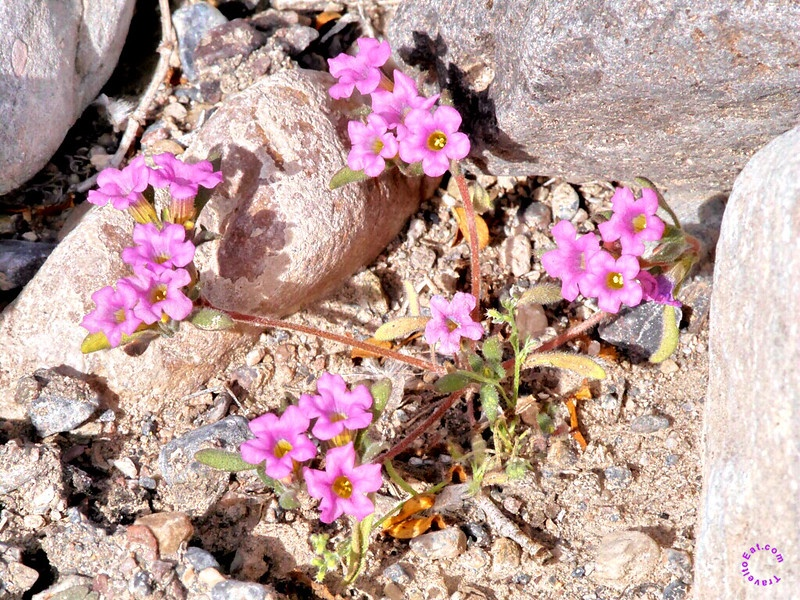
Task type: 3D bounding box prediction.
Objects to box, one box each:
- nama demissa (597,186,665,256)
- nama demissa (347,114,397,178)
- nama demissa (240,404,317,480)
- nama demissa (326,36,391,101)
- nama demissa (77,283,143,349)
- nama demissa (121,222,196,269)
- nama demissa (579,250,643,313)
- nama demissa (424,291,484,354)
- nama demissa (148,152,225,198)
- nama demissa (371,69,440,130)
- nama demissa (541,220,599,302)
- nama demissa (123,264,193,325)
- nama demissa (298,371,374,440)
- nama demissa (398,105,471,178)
[{"bbox_3d":[1.139,-0.376,4.406,0.307,0.125,0.335,25,92,26],"label":"nama demissa"},{"bbox_3d":[-0.145,-0.777,4.644,0.269,0.237,0.305,-4,74,1],"label":"nama demissa"},{"bbox_3d":[-0.596,0.677,4.231,0.305,0.321,0.145,-5,75,-13],"label":"nama demissa"},{"bbox_3d":[-0.185,-1.217,4.751,0.312,0.310,0.154,-20,78,43],"label":"nama demissa"},{"bbox_3d":[-1.363,0.082,4.167,0.291,0.117,0.287,-46,73,2],"label":"nama demissa"},{"bbox_3d":[-1.188,-0.232,4.385,0.294,0.356,0.135,-14,83,-5],"label":"nama demissa"},{"bbox_3d":[1.040,-0.103,4.405,0.310,0.321,0.133,-39,51,24],"label":"nama demissa"},{"bbox_3d":[0.287,0.137,4.587,0.322,0.146,0.373,0,52,19],"label":"nama demissa"},{"bbox_3d":[-1.066,-0.598,4.472,0.330,0.341,0.126,7,76,-20],"label":"nama demissa"},{"bbox_3d":[-0.011,-1.017,4.612,0.301,0.142,0.321,5,96,6],"label":"nama demissa"},{"bbox_3d":[0.898,-0.224,4.572,0.371,0.391,0.161,17,85,34],"label":"nama demissa"},{"bbox_3d":[-1.143,-0.076,4.311,0.235,0.268,0.109,5,100,10],"label":"nama demissa"},{"bbox_3d":[-0.297,0.501,4.233,0.303,0.146,0.326,36,68,5],"label":"nama demissa"},{"bbox_3d":[0.170,-0.833,4.598,0.414,0.446,0.190,-20,84,-43],"label":"nama demissa"}]
